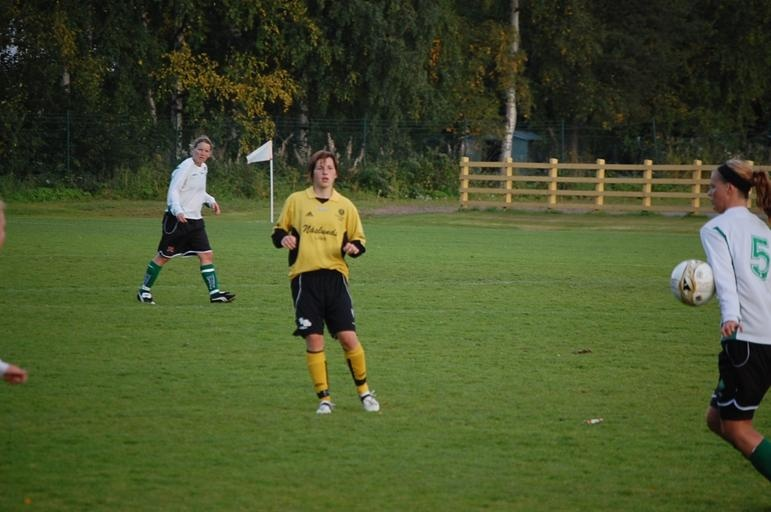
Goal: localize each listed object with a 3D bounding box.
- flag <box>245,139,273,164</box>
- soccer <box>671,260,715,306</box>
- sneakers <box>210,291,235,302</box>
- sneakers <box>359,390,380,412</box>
[{"bbox_3d":[-3.864,-3.238,34.845,0.645,0.622,0.994,1,8,-2],"label":"flag"},{"bbox_3d":[4.625,0.405,17.044,0.686,0.715,0.679,6,9,14],"label":"soccer"},{"bbox_3d":[-3.257,0.796,22.505,0.533,0.208,0.186,-1,4,-4],"label":"sneakers"},{"bbox_3d":[-0.263,2.349,18.172,0.242,0.340,0.145,-23,-26,-13],"label":"sneakers"}]
